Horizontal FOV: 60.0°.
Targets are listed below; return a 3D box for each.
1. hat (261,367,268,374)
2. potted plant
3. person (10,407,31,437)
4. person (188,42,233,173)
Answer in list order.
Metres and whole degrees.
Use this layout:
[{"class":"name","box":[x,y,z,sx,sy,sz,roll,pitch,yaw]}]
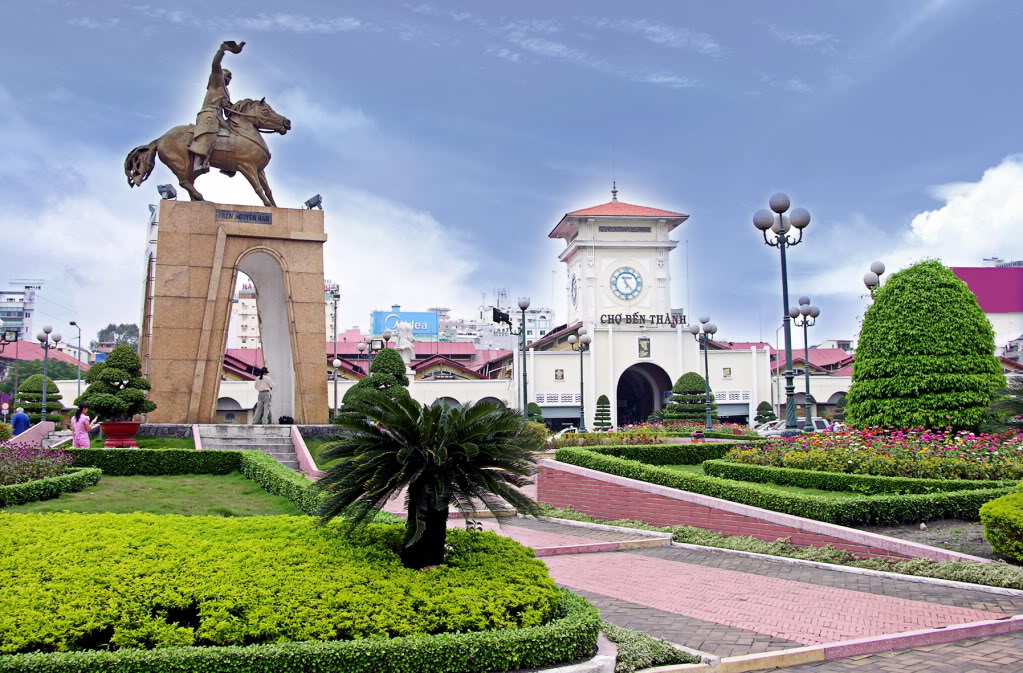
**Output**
[{"class":"hat","box":[-8.554,1.150,30.695,0.229,0.224,0.216,-10,10,10]},{"class":"potted plant","box":[-11.256,1.674,25.392,1.809,2.492,3.112,4,1,-22]},{"class":"person","box":[-15.576,2.747,28.119,0.433,0.679,1.196,4,1,-30]},{"class":"person","box":[-9.855,-7.402,29.202,1.058,3.830,1.314,4,1,-2]}]
